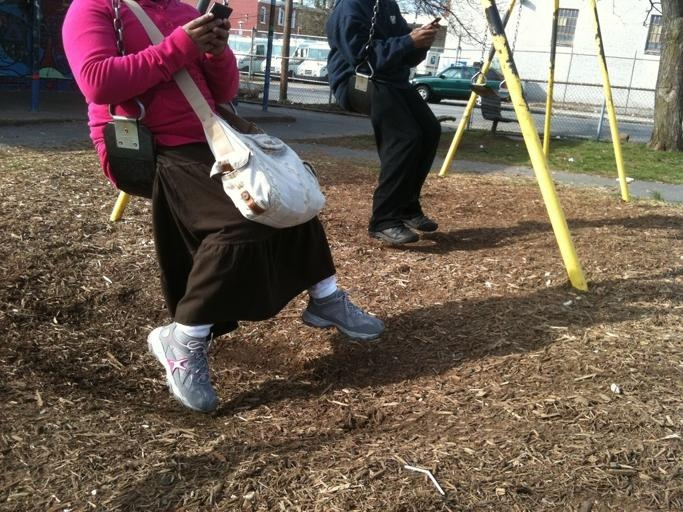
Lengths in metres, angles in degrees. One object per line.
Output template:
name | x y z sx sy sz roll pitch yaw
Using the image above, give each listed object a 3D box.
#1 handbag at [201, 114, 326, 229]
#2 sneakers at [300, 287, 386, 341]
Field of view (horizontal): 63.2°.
handbag | -0.298 -0.325 2.300 0.243 0.566 0.445 -41 5 27
sneakers | 0.016 0.292 2.926 0.532 0.173 0.194 12 23 -9
